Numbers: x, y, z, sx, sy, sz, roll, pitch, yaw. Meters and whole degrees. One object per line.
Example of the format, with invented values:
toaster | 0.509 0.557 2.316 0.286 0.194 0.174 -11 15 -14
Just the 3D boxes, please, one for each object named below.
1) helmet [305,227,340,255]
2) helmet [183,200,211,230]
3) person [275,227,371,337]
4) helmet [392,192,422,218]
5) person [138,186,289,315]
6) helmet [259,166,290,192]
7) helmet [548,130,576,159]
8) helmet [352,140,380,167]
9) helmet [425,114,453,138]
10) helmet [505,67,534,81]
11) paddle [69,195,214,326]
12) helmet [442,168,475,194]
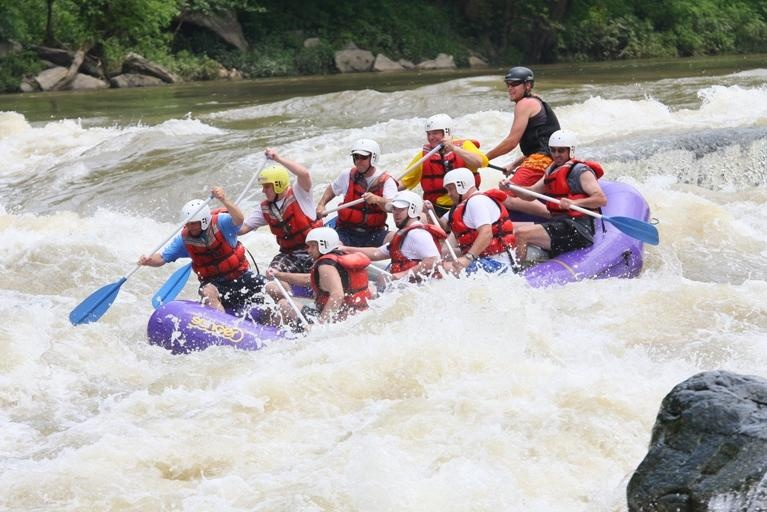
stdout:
helmet | -0.797 -0.197 12.615 0.429 0.278 0.307 0 2 -1
helmet | -2.607 -0.554 13.169 0.359 0.437 0.373 -2 67 1
person | -0.606 0.313 12.577 1.356 1.486 0.912 2 13 5
helmet | 0.313 -0.692 12.976 0.432 0.273 0.311 -9 18 -22
person | -2.441 0.005 13.838 1.465 0.962 1.709 -32 85 -10
helmet | -1.492 -1.077 13.340 0.457 0.331 0.309 -19 24 -6
helmet | 2.520 -1.568 13.525 0.380 0.394 0.385 4 52 9
helmet | -0.223 -1.519 13.808 0.330 0.288 0.407 11 31 18
helmet | 0.759 -1.897 14.012 0.391 0.278 0.285 -16 0 39
helmet | 2.040 -2.645 14.031 0.498 0.215 0.350 1 16 -9
paddle | -3.346 0.248 12.832 0.330 2.439 0.202 57 39 -1
helmet | 1.043 -1.005 13.013 0.445 0.306 0.302 4 6 5
